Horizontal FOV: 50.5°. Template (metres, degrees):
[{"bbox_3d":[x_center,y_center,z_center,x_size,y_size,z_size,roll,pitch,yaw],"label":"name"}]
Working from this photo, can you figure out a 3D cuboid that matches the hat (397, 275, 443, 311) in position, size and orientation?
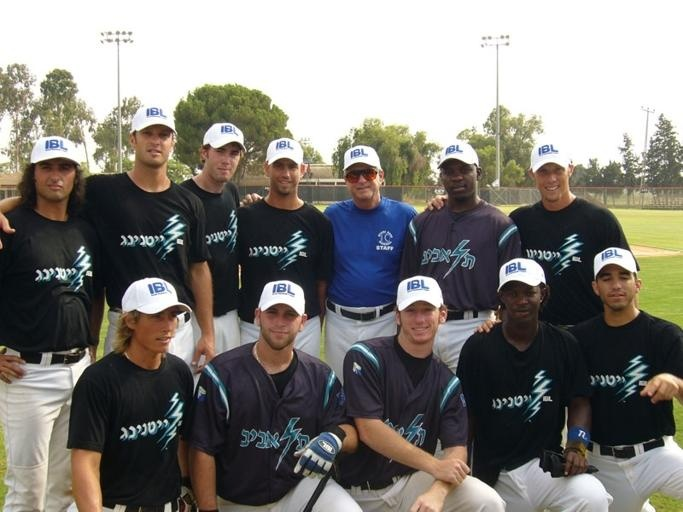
[{"bbox_3d":[0.738,0.354,6.929,0.416,0.316,0.279,-1,1,4],"label":"hat"}]

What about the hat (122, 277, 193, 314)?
[{"bbox_3d":[-1.702,0.351,6.478,0.428,0.244,0.313,-2,-4,44],"label":"hat"}]

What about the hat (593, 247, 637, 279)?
[{"bbox_3d":[2.770,0.059,7.306,0.434,0.300,0.397,-1,1,11],"label":"hat"}]

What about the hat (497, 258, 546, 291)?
[{"bbox_3d":[1.779,0.179,7.160,0.437,0.311,0.292,-1,1,13],"label":"hat"}]

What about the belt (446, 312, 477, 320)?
[{"bbox_3d":[1.312,0.641,7.876,0.322,0.104,0.071,-1,1,9],"label":"belt"}]

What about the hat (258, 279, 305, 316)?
[{"bbox_3d":[-0.562,0.401,6.813,0.371,0.330,0.417,0,2,42],"label":"hat"}]

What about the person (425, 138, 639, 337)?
[{"bbox_3d":[2.445,-0.264,7.937,1.137,2.033,0.517,-1,2,13],"label":"person"}]

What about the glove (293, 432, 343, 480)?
[{"bbox_3d":[-0.207,1.758,6.387,0.299,0.432,0.180,33,-10,6],"label":"glove"}]
